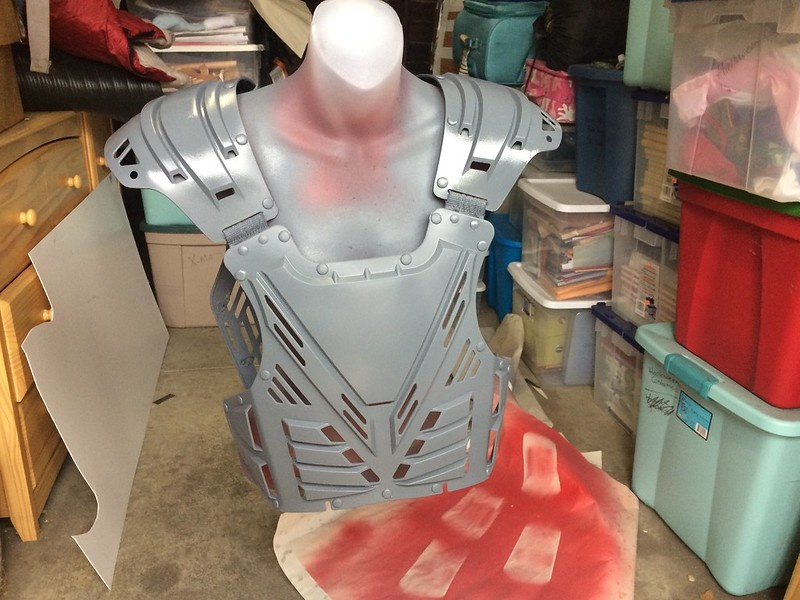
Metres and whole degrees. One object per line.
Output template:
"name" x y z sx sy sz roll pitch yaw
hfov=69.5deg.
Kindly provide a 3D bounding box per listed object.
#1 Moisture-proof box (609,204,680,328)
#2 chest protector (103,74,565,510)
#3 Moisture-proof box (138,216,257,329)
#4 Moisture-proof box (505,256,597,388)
"Moisture-proof box" 0.817 -0.117 1.899 0.212 0.303 0.310 -6 25 -9
"chest protector" -0.067 -0.042 1.262 0.879 0.842 0.533 -2 32 2
"Moisture-proof box" -0.940 -0.121 2.776 0.581 0.523 0.476 -2 11 -15
"Moisture-proof box" 0.636 0.086 2.407 0.298 0.334 0.416 -7 18 -22
